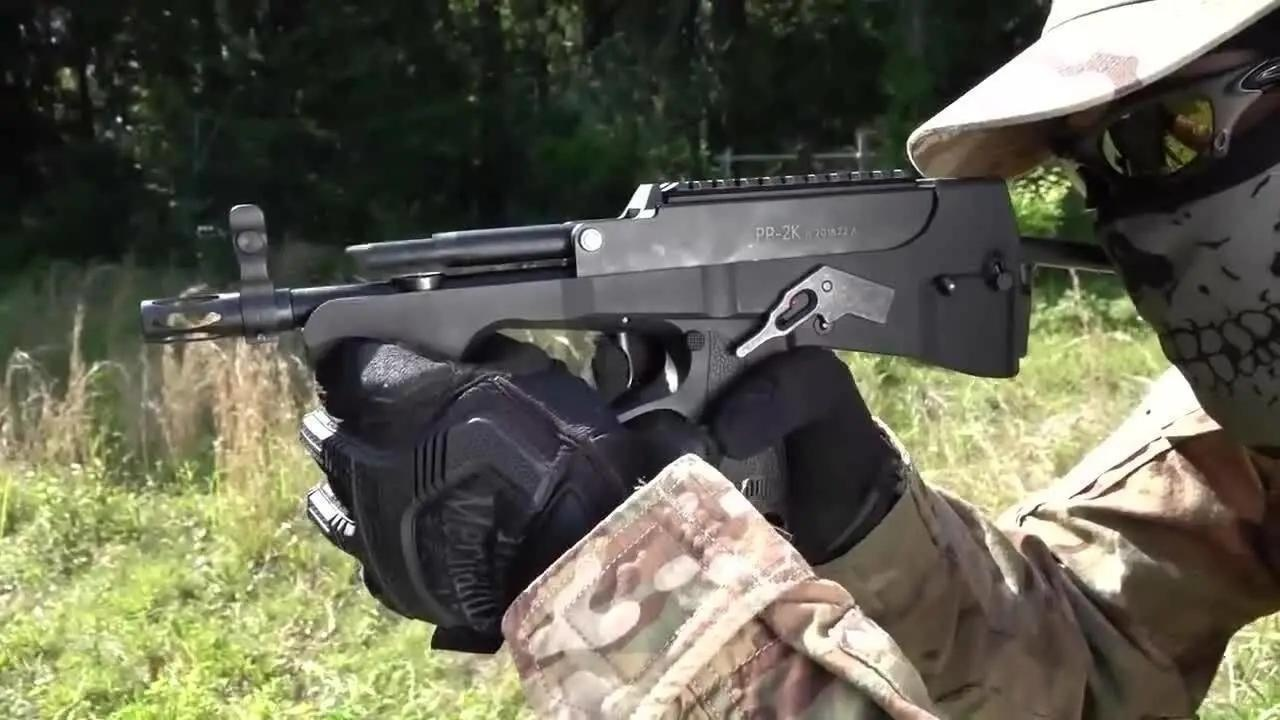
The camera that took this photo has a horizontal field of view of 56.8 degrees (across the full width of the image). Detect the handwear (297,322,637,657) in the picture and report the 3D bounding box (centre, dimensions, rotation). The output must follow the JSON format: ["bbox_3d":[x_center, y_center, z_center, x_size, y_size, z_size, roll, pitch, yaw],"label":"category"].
[{"bbox_3d":[-0.378,0.290,2.606,0.746,0.669,0.166,-1,8,1],"label":"handwear"}]
